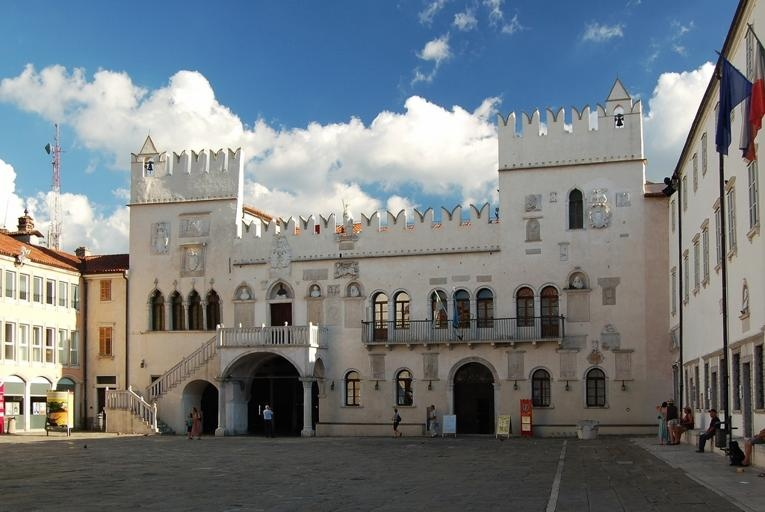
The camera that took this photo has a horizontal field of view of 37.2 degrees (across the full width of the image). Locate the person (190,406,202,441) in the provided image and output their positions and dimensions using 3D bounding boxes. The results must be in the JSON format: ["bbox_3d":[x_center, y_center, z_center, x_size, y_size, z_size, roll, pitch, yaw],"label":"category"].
[{"bbox_3d":[-9.634,8.605,58.338,0.470,1.572,1.516,0,-13,-10],"label":"person"}]

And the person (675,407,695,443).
[{"bbox_3d":[13.548,7.631,51.156,0.785,1.541,2.352,-3,-13,3],"label":"person"}]

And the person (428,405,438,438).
[{"bbox_3d":[2.583,8.534,59.280,0.451,1.630,0.721,-2,-13,2],"label":"person"}]
